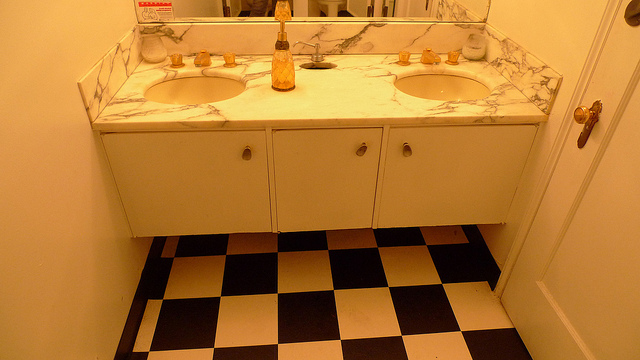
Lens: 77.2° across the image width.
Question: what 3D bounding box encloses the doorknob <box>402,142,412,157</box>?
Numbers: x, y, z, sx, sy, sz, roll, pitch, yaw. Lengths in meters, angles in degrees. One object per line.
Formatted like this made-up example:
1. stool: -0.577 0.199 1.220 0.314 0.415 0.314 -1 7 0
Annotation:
1. doorknob: 0.472 -0.161 2.172 0.054 0.083 0.031 5 35 5

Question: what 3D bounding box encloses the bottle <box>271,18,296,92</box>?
1. bottle: -0.210 -0.707 2.244 0.132 0.367 0.242 -2 34 -5

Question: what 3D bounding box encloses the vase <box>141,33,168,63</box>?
1. vase: -1.043 -0.834 2.482 0.177 0.164 0.161 1 34 -8

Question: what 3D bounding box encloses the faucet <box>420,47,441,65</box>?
1. faucet: 0.677 -0.770 2.494 0.127 0.081 0.084 1 47 8

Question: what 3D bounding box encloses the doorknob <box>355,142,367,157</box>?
1. doorknob: 0.224 -0.162 2.165 0.054 0.083 0.027 -19 40 -27

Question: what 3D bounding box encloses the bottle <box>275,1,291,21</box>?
1. bottle: -0.203 -0.932 2.195 0.073 0.099 0.101 1 33 0

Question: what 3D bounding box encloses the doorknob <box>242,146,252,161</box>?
1. doorknob: -0.388 -0.137 2.133 0.036 0.083 0.046 21 39 26

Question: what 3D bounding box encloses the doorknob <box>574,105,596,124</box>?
1. doorknob: 1.223 -0.304 1.859 0.090 0.062 0.060 5 45 -14

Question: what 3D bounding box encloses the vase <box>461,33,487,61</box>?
1. vase: 0.983 -0.864 2.594 0.178 0.173 0.180 2 32 12
